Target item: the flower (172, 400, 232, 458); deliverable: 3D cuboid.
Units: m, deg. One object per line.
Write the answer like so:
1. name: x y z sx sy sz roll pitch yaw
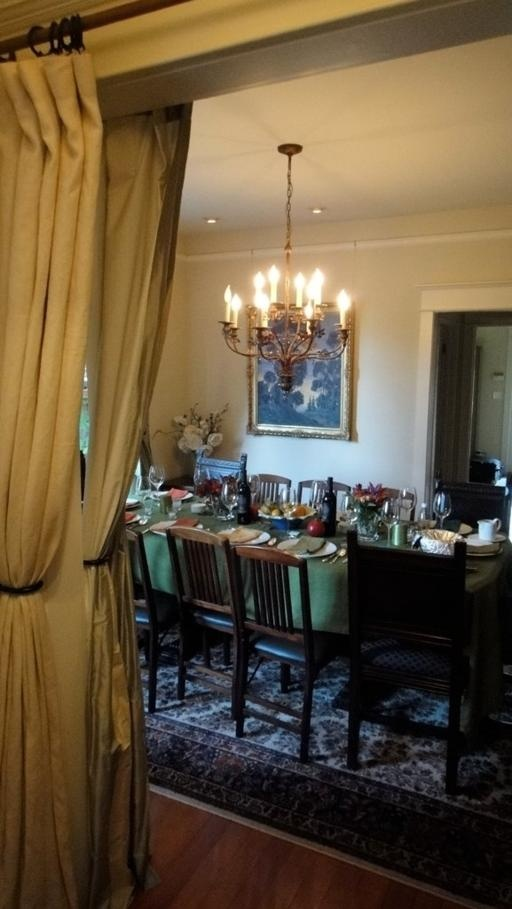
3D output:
1. flower: -0.505 -0.222 5.507 0.410 0.542 0.431 -2 -2 -44

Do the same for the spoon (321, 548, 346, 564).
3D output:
1. spoon: 0.336 0.439 2.603 0.041 0.024 0.152 15 13 20

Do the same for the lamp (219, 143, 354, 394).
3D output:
1. lamp: 0.198 -1.224 3.858 0.677 1.610 0.766 0 2 -4

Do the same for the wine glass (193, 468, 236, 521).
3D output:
1. wine glass: -0.194 0.207 3.212 0.229 0.301 0.228 -4 -2 44

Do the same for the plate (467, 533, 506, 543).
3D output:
1. plate: 1.054 0.399 2.806 0.101 0.018 0.113 -5 10 -1

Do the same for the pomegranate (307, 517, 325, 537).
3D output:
1. pomegranate: 0.287 0.351 2.931 0.064 0.096 0.072 3 3 4

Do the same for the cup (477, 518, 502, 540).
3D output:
1. cup: 1.087 0.357 2.873 0.123 0.148 0.079 5 -5 -31

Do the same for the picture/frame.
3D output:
1. picture/frame: 0.367 -0.634 4.577 0.885 1.157 0.076 8 14 29
